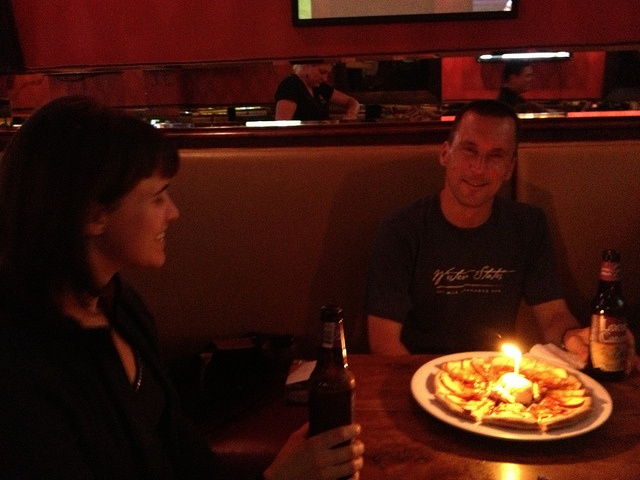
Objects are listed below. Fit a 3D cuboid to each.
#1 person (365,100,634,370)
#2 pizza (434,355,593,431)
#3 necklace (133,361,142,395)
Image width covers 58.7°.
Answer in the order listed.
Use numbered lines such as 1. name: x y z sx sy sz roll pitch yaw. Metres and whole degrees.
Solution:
1. person: 0.617 -0.076 2.553 0.968 1.020 0.948 -4 9 -4
2. pizza: 0.527 0.416 1.513 0.380 0.079 0.431 -4 7 29
3. necklace: -0.472 0.352 1.468 0.013 0.006 0.073 -11 51 10
